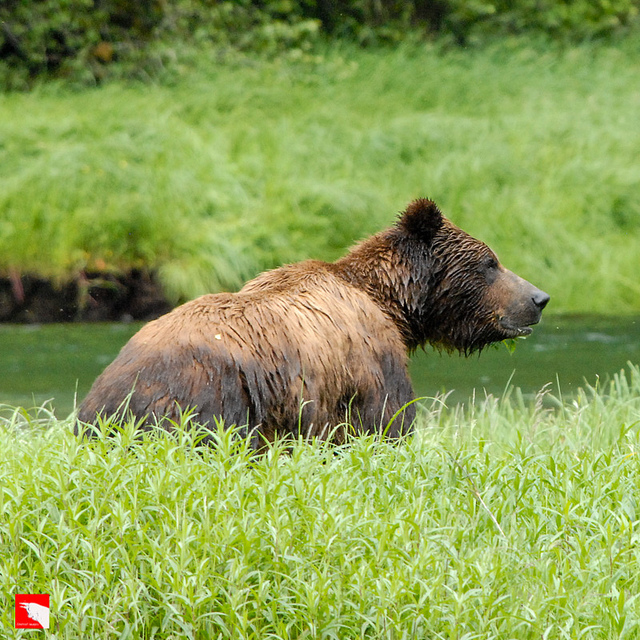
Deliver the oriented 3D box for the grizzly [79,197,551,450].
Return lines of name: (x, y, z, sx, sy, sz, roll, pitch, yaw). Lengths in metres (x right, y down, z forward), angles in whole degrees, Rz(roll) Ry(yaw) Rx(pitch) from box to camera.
grizzly: (0.025, 0.286, 4.560, 2.228, 1.410, 0.780, -13, 9, -29)
